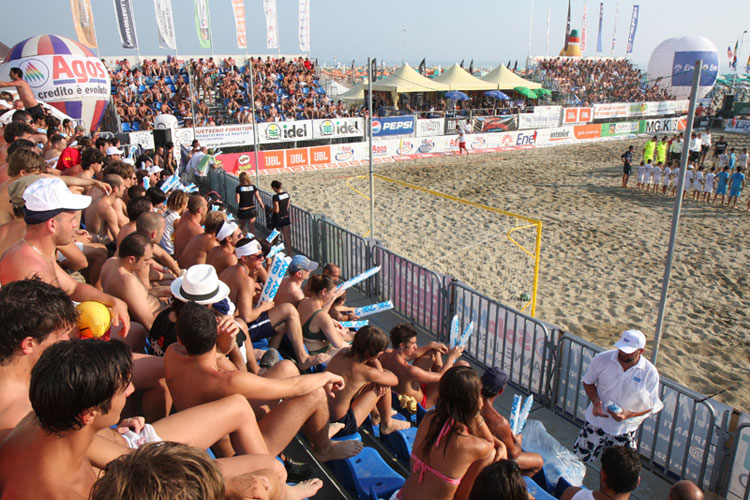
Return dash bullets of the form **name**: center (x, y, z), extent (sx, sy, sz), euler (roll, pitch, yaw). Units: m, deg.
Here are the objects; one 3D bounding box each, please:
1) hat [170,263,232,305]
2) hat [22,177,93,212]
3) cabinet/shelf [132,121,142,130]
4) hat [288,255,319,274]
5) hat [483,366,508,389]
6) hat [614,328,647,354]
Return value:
- **hat**: center (-1.818, 0.393, 5.465), extent (0.547, 0.390, 0.469), euler (-9, 20, -21)
- **hat**: center (-3.046, -0.521, 5.043), extent (0.507, 0.237, 0.335), euler (-7, 24, -45)
- **cabinet/shelf**: center (-9.703, -4.990, 21.455), extent (0.303, 0.437, 0.150), euler (0, -11, -22)
- **hat**: center (-1.005, 0.213, 7.352), extent (0.409, 0.310, 0.249), euler (-16, 23, -36)
- **hat**: center (1.257, 1.313, 5.476), extent (0.259, 0.174, 0.172), euler (-9, 20, -22)
- **hat**: center (2.885, 1.021, 5.932), extent (0.268, 0.259, 0.268), euler (11, 22, 33)
